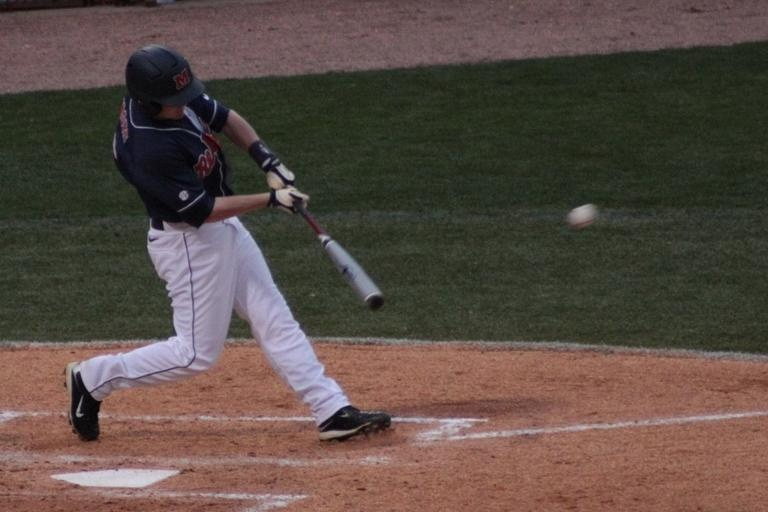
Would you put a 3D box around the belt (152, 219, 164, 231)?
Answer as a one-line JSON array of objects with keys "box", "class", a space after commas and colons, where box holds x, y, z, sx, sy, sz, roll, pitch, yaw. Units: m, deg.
[{"box": [-2.003, -0.274, 12.629, 0.133, 0.102, 0.033, 11, 22, 38], "class": "belt"}]

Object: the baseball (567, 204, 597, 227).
[{"box": [1.977, -0.380, 14.618, 0.318, 0.135, 0.300, -22, 3, -24], "class": "baseball"}]

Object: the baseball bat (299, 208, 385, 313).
[{"box": [-0.445, 0.091, 14.618, 0.203, 0.188, 1.559, -19, 52, -41], "class": "baseball bat"}]
